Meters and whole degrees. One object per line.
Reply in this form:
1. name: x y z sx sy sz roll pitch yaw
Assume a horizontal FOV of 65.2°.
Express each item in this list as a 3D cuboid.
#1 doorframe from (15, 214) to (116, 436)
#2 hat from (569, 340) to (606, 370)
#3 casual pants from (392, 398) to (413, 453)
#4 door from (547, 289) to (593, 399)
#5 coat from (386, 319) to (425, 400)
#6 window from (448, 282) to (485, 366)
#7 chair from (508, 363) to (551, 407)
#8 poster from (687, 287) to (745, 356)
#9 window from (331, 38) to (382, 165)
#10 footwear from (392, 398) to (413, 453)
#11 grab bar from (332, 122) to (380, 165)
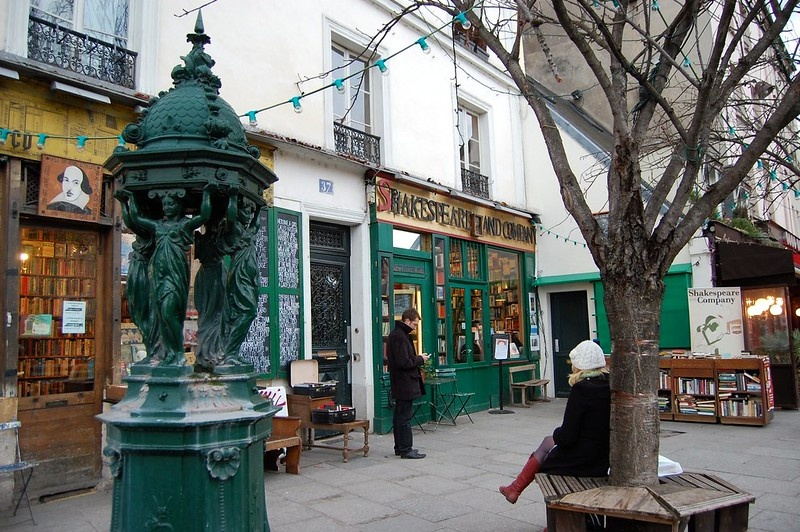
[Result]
1. doorframe: -4.852 0.740 8.885 1.346 2.566 0.227 2 3 4
2. hat: 2.025 0.980 6.869 0.321 0.280 0.324 2 -1 -27
3. casual pants: 0.046 2.522 10.098 0.249 0.909 0.363 -6 0 -26
4. door: 4.399 1.971 16.112 1.135 2.833 0.218 -9 -18 35
5. coat: 0.082 1.558 10.472 0.659 1.287 0.675 0 -2 -17
6. window: 1.448 1.358 14.139 0.210 1.968 1.637 -6 -11 34
7. chair: 3.103 2.905 15.395 1.093 0.723 0.564 3 9 -26
8. poster: 6.656 1.189 13.216 1.260 1.915 0.075 -3 -6 32
9. window: -0.970 -3.235 12.323 0.252 2.353 1.377 -14 -17 40
10. footwear: 0.060 2.532 10.126 0.259 0.965 0.381 -5 -2 -12
11. grab bar: -0.895 -2.334 12.081 0.131 0.439 0.929 -6 -11 33
